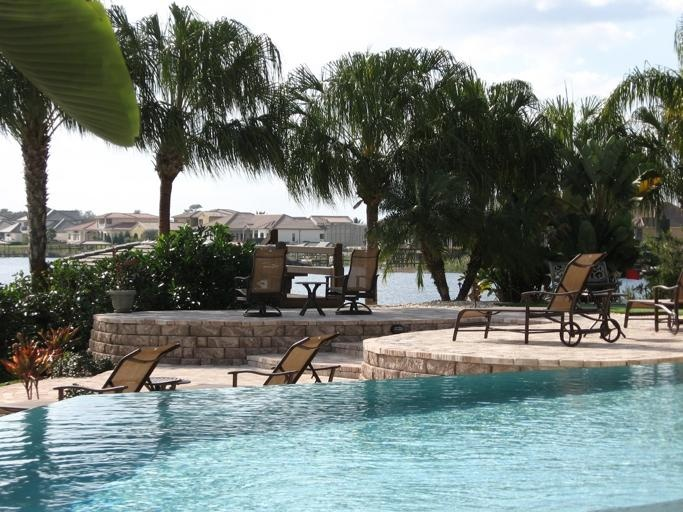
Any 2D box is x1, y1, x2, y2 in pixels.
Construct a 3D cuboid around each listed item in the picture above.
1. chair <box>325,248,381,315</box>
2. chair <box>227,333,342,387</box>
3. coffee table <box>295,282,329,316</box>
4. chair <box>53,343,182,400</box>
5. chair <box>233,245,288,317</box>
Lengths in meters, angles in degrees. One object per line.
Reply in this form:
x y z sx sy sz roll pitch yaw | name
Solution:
0.257 0.491 14.367 0.815 1.321 1.260 0 5 -1 | chair
-0.720 1.408 8.774 1.077 0.828 0.682 -8 -6 34 | chair
-0.579 0.789 13.741 0.414 0.536 0.442 -3 -4 44 | coffee table
-2.736 1.281 8.082 1.422 0.698 0.737 -1 -4 31 | chair
-1.416 0.413 12.963 0.900 1.279 0.999 6 6 19 | chair
